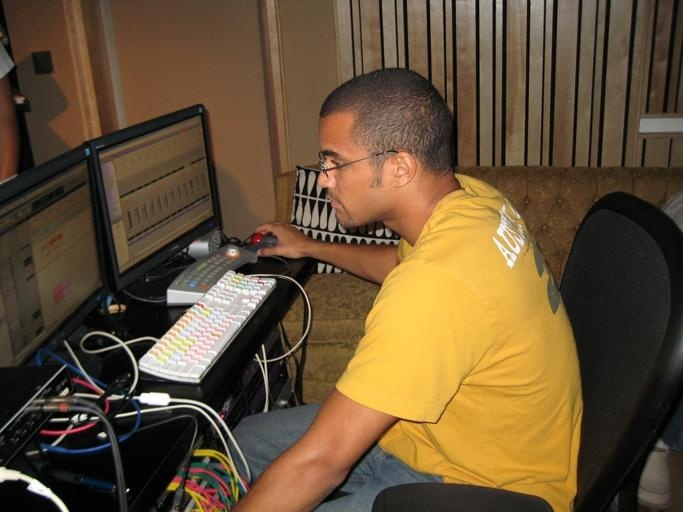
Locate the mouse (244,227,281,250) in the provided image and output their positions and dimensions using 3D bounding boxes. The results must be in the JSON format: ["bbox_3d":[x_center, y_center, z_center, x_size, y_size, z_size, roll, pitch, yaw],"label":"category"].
[{"bbox_3d":[-0.298,-0.054,1.945,0.101,0.033,0.067,-15,37,8],"label":"mouse"}]

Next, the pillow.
[{"bbox_3d":[0.016,-0.109,1.849,0.454,0.486,0.168,2,-9,2],"label":"pillow"}]
